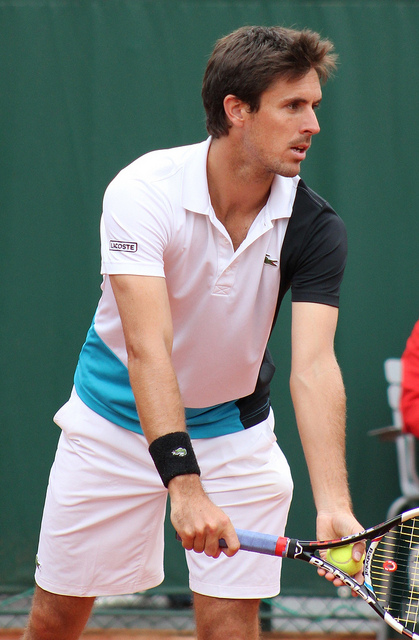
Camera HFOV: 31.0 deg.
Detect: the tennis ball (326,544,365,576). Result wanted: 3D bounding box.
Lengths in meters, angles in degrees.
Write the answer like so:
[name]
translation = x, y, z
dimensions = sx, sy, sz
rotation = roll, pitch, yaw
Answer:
[tennis ball]
translation = 0.301, 0.536, 1.701
dimensions = 0.072, 0.072, 0.072
rotation = -2, -13, -1
